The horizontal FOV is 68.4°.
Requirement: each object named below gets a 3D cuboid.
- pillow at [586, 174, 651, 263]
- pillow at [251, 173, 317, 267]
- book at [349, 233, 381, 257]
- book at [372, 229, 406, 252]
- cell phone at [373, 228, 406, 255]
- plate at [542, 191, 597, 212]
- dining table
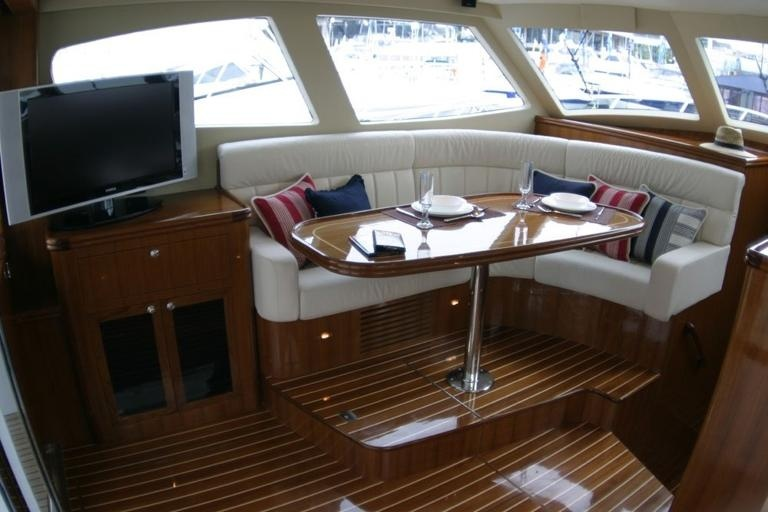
[{"bbox_3d":[1.491,-0.222,3.585,0.197,0.439,0.512,1,19,-22],"label":"pillow"},{"bbox_3d":[-0.624,-0.206,3.472,0.210,0.431,0.471,10,33,32],"label":"pillow"},{"bbox_3d":[-0.098,-0.063,2.865,0.093,0.016,0.158,-6,28,-21],"label":"book"},{"bbox_3d":[0.021,-0.073,2.820,0.124,0.036,0.136,1,28,-9],"label":"book"},{"bbox_3d":[0.020,-0.071,2.822,0.131,0.037,0.144,2,29,-9],"label":"cell phone"},{"bbox_3d":[1.112,-0.322,3.401,0.189,0.044,0.184,-4,23,-13],"label":"plate"},{"bbox_3d":[0.438,-0.151,3.145,1.866,0.310,0.711,-14,21,-14],"label":"dining table"}]
